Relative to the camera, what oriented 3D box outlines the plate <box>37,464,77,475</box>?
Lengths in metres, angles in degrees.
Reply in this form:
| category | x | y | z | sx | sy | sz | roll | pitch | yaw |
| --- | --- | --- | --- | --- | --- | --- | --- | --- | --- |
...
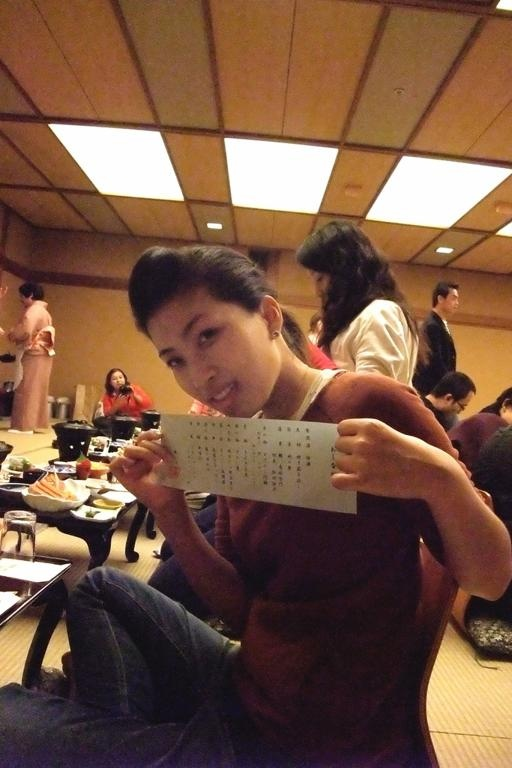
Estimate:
| category | x | y | z | sx | sy | sz | roll | pitch | yaw |
| --- | --- | --- | --- | --- | --- | --- | --- | --- | --- |
| plate | -1.025 | 0.447 | 2.881 | 0.097 | 0.028 | 0.116 | 1 | -1 | -3 |

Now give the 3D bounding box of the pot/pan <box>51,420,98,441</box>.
| category | x | y | z | sx | sy | sz | roll | pitch | yaw |
| --- | --- | --- | --- | --- | --- | --- | --- | --- | --- |
| pot/pan | -1.053 | 0.268 | 3.278 | 0.166 | 0.093 | 0.166 | 1 | 0 | 14 |
